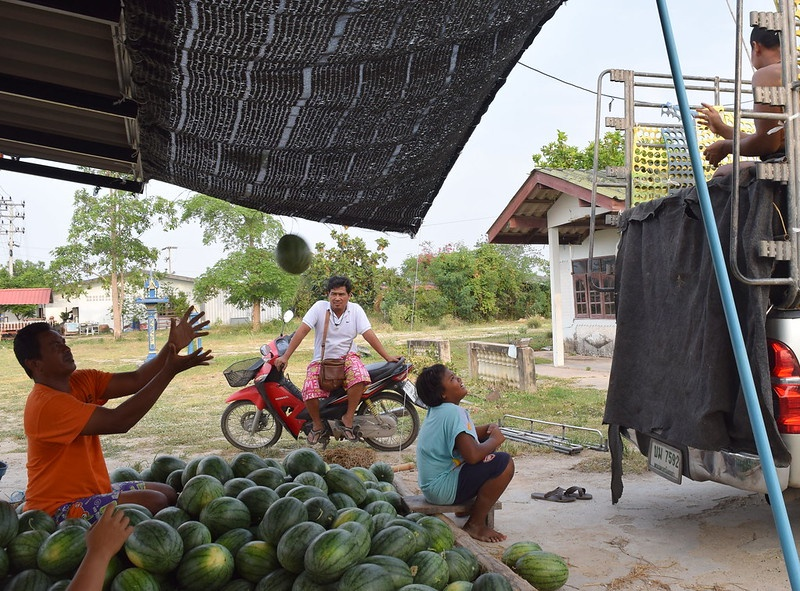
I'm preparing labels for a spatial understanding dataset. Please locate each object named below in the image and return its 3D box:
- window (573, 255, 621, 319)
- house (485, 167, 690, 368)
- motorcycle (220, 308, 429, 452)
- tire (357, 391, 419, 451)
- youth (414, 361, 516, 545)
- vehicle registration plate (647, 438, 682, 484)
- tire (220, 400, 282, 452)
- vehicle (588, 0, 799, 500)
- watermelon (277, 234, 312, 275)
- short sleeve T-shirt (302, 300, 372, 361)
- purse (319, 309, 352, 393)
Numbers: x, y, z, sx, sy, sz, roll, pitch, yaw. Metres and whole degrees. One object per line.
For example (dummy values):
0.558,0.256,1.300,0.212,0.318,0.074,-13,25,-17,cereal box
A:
4.604,-0.065,16.903,1.684,1.196,0.070,-1,-6,-26,window
3.765,-0.608,15.950,3.442,3.618,3.035,0,-14,43,house
-0.897,1.030,8.475,2.462,1.691,1.202,0,0,5,motorcycle
-0.145,1.369,8.057,0.739,0.789,0.238,-2,23,4,tire
0.559,1.325,6.176,0.903,1.578,1.138,-3,4,-13,youth
1.943,1.216,5.459,0.445,0.253,0.017,27,-26,-35,vehicle registration plate
-1.622,1.424,8.103,0.662,0.689,0.187,11,24,-3,tire
2.239,-0.156,5.266,0.608,3.617,1.676,1,0,-17,vehicle
-0.701,-0.287,4.997,0.268,0.210,0.210,1,0,-28,watermelon
-0.635,0.309,7.707,0.640,0.594,0.351,1,30,3,short sleeve T-shirt
-0.682,0.569,7.545,0.262,0.703,0.190,1,0,-5,purse
